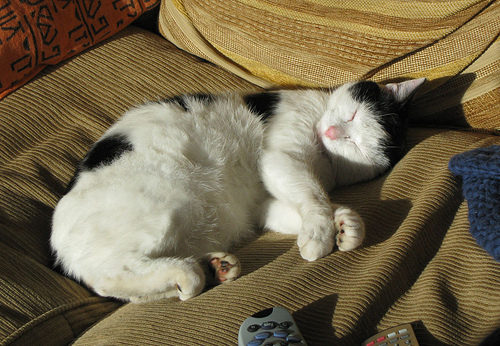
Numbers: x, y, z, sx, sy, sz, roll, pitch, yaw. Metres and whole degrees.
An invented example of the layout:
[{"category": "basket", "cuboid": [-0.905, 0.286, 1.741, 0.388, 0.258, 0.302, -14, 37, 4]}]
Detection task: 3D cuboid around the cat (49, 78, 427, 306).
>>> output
[{"category": "cat", "cuboid": [-0.028, 0.132, 2.901, 1.464, 0.384, 0.934, -6, 49, -2]}]
